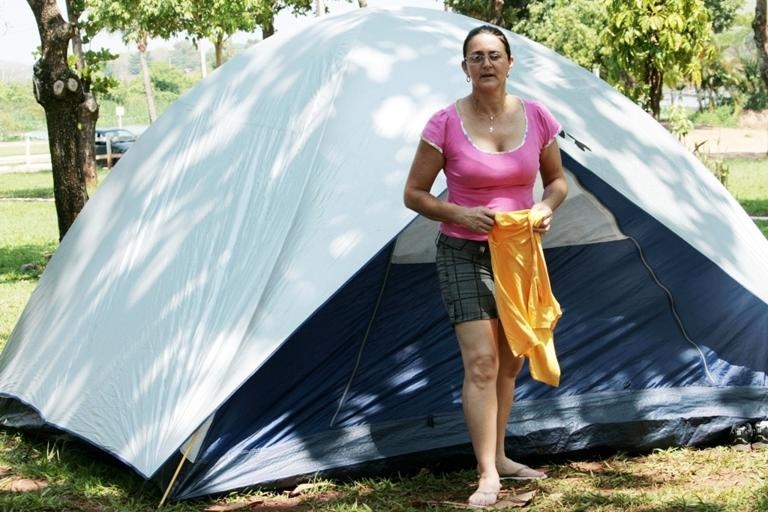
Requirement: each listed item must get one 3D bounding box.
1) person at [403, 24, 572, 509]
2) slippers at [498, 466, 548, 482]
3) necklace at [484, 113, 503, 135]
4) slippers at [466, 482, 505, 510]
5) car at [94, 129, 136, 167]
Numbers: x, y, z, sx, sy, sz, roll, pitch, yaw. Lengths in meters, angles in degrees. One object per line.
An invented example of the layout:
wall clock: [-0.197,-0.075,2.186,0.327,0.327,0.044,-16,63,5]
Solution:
person: [0.713,0.048,6.055,1.012,3.140,0.555,-5,8,-23]
slippers: [0.978,1.507,6.359,0.334,0.087,0.126,-1,5,-13]
necklace: [0.728,-0.866,5.993,0.131,0.126,0.068,-1,0,-5]
slippers: [0.662,1.584,5.956,0.105,0.111,0.269,-6,-11,42]
car: [-8.895,-3.679,29.916,1.262,0.892,2.101,-2,11,-9]
